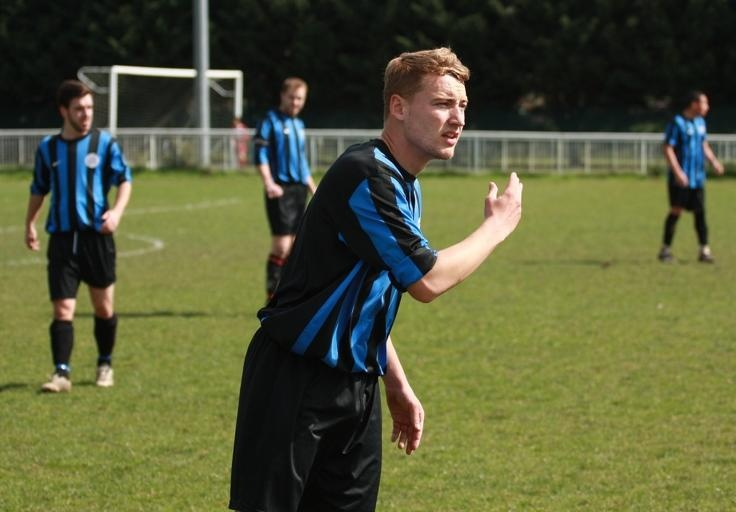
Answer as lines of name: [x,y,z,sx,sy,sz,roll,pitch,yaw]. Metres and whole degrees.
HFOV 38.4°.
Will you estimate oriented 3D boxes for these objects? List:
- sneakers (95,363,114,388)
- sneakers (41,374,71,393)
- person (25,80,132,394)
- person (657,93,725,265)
sneakers: [-1.815,0.822,7.292,0.160,0.163,0.104,-4,-5,23]
sneakers: [-2.128,0.873,7.253,0.095,0.092,0.186,3,-10,9]
person: [-1.990,-0.149,7.239,0.707,2.104,0.501,0,12,-12]
person: [2.209,-0.480,7.265,0.410,0.928,0.671,7,13,17]
